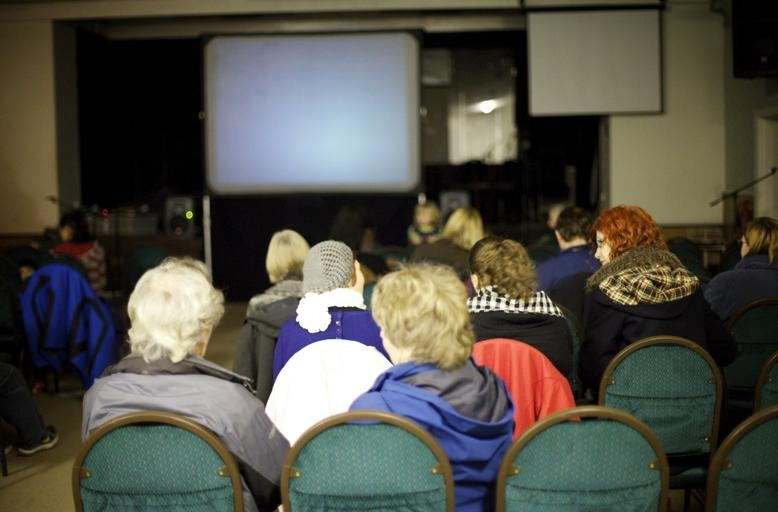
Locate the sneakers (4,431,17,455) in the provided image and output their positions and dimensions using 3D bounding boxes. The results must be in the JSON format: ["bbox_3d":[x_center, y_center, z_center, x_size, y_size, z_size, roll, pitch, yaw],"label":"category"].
[{"bbox_3d":[-2.523,1.242,5.572,0.085,0.127,0.270,1,-1,-14],"label":"sneakers"}]

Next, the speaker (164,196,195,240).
[{"bbox_3d":[-1.448,-0.276,5.668,0.207,0.349,0.317,0,2,-3],"label":"speaker"}]

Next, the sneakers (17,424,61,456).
[{"bbox_3d":[-2.251,1.197,5.465,0.110,0.154,0.303,5,13,27],"label":"sneakers"}]
